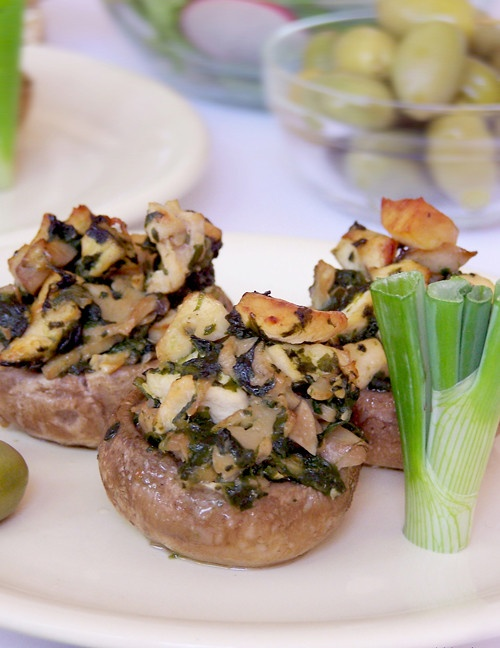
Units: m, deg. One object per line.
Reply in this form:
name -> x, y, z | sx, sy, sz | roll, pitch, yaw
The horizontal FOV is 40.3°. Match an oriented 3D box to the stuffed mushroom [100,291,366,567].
stuffed mushroom -> -0.048, 0.153, 1.293 | 0.579, 0.413, 0.486 | -2, 22, -13
